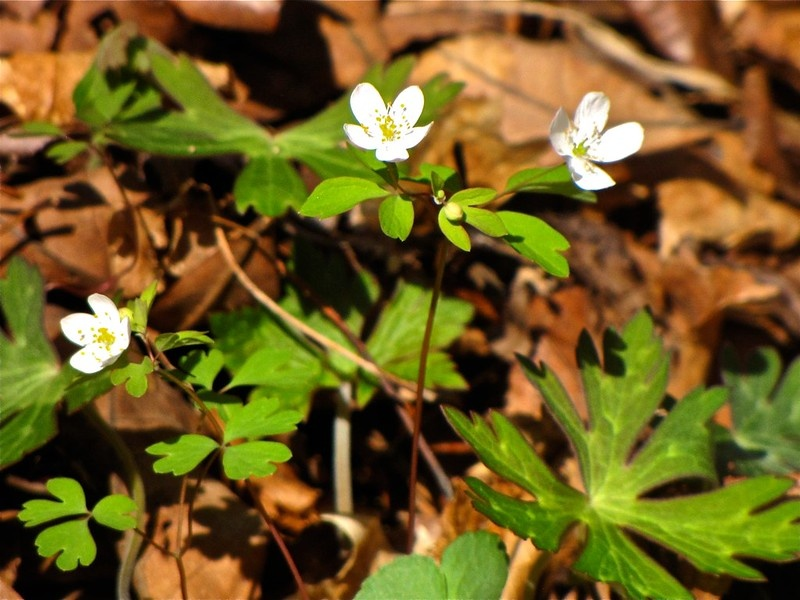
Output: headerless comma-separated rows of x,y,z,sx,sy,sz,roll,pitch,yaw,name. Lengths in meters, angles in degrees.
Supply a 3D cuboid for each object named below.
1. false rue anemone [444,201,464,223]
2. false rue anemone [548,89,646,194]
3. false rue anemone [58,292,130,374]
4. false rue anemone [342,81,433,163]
0.204,-0.325,3.169,0.063,0.047,0.075,-43,74,-7,false rue anemone
0.769,-0.641,3.438,0.399,0.206,0.434,-30,98,-32,false rue anemone
-1.165,0.132,3.253,0.288,0.145,0.279,-34,79,12,false rue anemone
-0.064,-0.679,3.335,0.315,0.236,0.470,1,58,-7,false rue anemone
